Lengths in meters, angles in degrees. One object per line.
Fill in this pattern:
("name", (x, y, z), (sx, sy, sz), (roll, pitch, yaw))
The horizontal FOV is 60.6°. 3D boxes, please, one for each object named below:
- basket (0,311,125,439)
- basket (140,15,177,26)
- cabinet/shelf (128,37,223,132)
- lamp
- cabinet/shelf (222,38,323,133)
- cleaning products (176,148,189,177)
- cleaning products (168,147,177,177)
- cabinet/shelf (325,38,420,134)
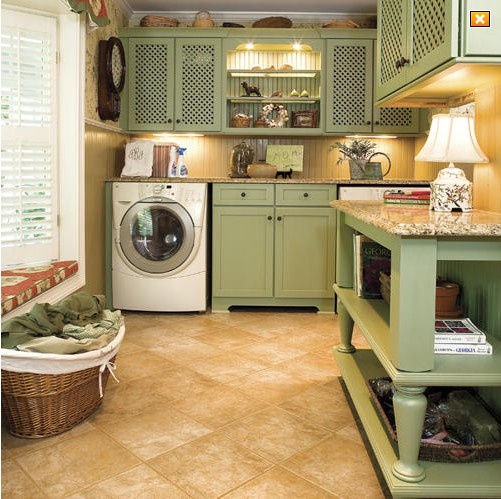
("basket", (-0.739, 0.536, 1.736), (0.375, 0.195, 0.460), (4, 1, 4))
("basket", (-0.797, -1.968, 3.712), (0.335, 0.097, 0.085), (1, 6, 0))
("cabinet/shelf", (-0.602, -1.447, 3.856), (0.914, 0.764, 0.418), (6, 15, 13))
("lamp", (0.754, -0.330, 1.599), (0.220, 0.373, 0.240), (1, 6, 5))
("cabinet/shelf", (0.199, -1.449, 3.893), (0.902, 0.716, 0.276), (0, 20, 1))
("cleaning products", (-0.569, -0.732, 3.607), (0.076, 0.245, 0.157), (1, 6, 3))
("cleaning products", (-0.637, -0.725, 3.522), (0.031, 0.254, 0.101), (6, 8, 39))
("cabinet/shelf", (1.020, -1.435, 3.855), (0.942, 0.795, 0.330), (-7, 15, -18))
